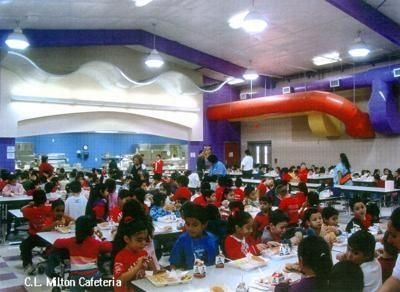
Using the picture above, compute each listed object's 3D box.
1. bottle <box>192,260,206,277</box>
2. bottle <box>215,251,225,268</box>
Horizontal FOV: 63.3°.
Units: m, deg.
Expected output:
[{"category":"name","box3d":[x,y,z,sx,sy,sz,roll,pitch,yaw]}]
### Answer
[{"category":"bottle","box3d":[-0.006,1.252,3.310,0.121,0.160,0.159,5,-9,-31]},{"category":"bottle","box3d":[0.219,1.240,3.631,0.104,0.180,0.240,-1,-3,2]}]
